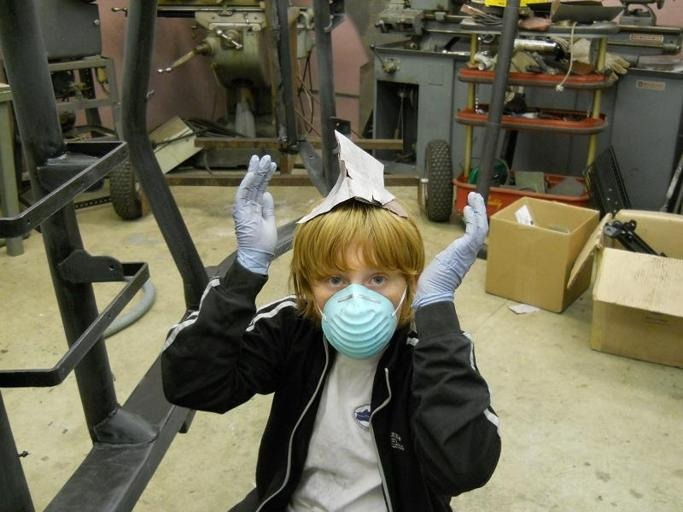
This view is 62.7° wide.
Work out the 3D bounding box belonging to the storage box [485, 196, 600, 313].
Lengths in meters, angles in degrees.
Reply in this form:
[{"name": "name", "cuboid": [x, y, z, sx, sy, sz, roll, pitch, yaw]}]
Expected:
[{"name": "storage box", "cuboid": [1.130, -0.015, 3.173, 0.540, 0.469, 0.524, -15, 26, -30]}]
